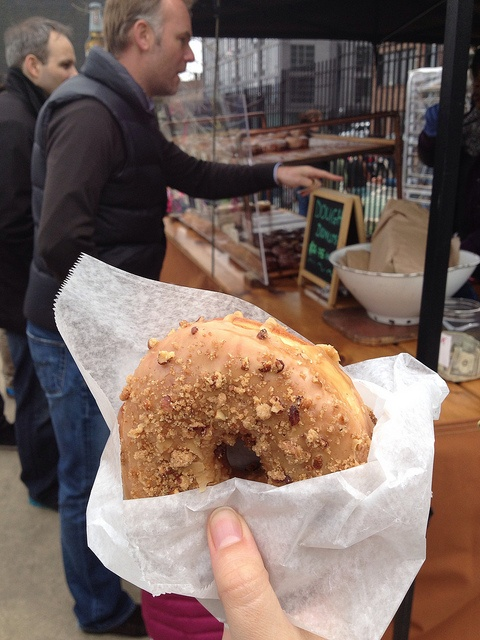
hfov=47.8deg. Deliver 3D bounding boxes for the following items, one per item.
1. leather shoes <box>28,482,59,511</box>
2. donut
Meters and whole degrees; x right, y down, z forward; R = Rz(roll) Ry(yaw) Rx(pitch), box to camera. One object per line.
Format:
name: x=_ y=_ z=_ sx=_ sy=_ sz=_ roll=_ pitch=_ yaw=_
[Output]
leather shoes: x=-0.776 y=0.716 z=2.162 sx=0.118 sy=0.119 sz=0.041 roll=-1 pitch=3 yaw=9
donut: x=0.004 y=0.086 z=0.522 sx=0.248 sy=0.165 sz=0.118 roll=4 pitch=22 yaw=5
